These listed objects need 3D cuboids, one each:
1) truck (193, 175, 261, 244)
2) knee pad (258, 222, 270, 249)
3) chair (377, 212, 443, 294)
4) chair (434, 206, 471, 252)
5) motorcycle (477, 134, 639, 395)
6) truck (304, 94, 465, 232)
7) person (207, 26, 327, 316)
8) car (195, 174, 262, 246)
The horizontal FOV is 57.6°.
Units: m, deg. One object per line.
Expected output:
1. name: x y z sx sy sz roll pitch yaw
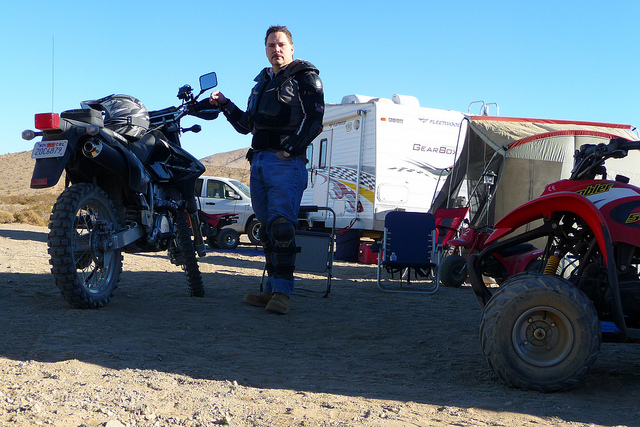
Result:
1. truck: -2.186 -0.119 13.974 2.415 1.489 1.531 -2 3 -10
2. knee pad: -0.597 0.228 6.120 0.068 0.233 0.229 -7 12 -14
3. chair: 1.235 0.480 8.034 0.890 1.230 1.164 2 -11 7
4. chair: 1.963 0.260 9.608 0.880 0.530 0.570 -17 13 -41
5. motorcycle: 1.920 0.319 4.748 1.105 1.743 1.887 4 2 15
6. truck: 1.575 -1.056 12.524 2.323 2.435 3.665 2 5 -22
7. person: -0.476 -0.475 6.072 0.941 1.962 0.481 5 2 43
8. car: -2.493 -0.134 14.904 2.860 1.729 1.703 -2 4 -8
